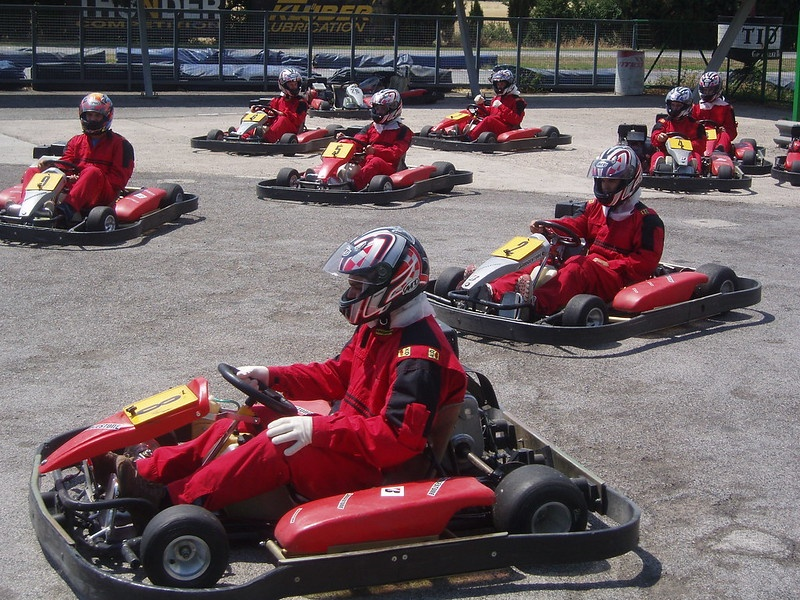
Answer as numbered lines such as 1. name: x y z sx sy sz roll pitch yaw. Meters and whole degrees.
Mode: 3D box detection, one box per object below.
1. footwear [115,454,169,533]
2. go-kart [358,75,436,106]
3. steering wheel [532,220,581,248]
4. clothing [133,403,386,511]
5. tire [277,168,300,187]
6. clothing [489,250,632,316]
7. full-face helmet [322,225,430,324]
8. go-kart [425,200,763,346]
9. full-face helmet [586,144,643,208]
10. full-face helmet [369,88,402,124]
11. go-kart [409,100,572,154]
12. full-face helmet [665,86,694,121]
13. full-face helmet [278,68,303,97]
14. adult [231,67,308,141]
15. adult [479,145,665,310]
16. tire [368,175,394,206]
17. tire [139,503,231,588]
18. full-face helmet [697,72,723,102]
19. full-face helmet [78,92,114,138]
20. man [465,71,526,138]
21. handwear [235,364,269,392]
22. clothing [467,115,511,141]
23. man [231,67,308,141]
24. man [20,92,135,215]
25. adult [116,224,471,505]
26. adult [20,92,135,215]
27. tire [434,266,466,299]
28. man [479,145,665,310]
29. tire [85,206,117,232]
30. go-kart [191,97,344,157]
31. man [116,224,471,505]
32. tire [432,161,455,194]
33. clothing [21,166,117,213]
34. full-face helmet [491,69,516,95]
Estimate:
1. footwear: -1.042 0.758 3.233 0.101 0.260 0.200 -23 8 -27
2. go-kart: 0.096 -5.168 20.102 1.329 0.587 1.942 8 11 44
3. steering wheel: 1.159 -0.495 5.964 0.248 0.049 0.246 22 -8 3
4. clothing: -0.606 0.664 3.305 0.666 0.238 0.463 11 1 -10
5. tire: -1.349 -1.455 9.932 0.232 0.292 0.309 6 9 20
6. clothing: 1.171 -0.121 5.788 0.745 0.252 0.457 -7 9 -24
7. full-face helmet: -0.095 -0.117 3.514 0.507 0.341 0.376 -12 11 -15
8. go-kart: 1.428 -0.085 5.836 1.653 0.540 1.242 -9 14 -33
9. full-face helmet: 1.579 -0.933 6.019 0.338 0.355 0.458 12 47 47
10. full-face helmet: -0.107 -2.443 10.282 0.404 0.398 0.464 13 21 29
11. go-kart: 1.649 -2.780 13.888 1.729 0.529 1.312 -5 10 -39
12. full-face helmet: 3.921 -2.747 11.334 0.331 0.438 0.356 4 11 16
13. full-face helmet: -1.832 -3.609 13.395 0.386 0.452 0.381 -16 -24 -14
14. adult: -2.041 -3.134 13.196 0.823 1.222 1.168 17 24 30
15. adult: 1.250 -0.536 5.904 1.457 1.029 0.910 -16 24 -33
16. tire: -0.224 -1.270 9.502 0.179 0.360 0.384 5 0 26
17. tire: -0.803 0.919 3.010 0.339 0.307 0.124 0 3 -9
18. full-face helmet: 4.835 -3.336 12.634 0.365 0.429 0.470 5 40 31
19. full-face helmet: -3.012 -1.860 8.057 0.335 0.343 0.418 11 24 2
20. man: 1.592 -3.232 13.853 1.081 1.318 0.737 0 19 -25
21. handwear: -0.645 0.342 3.548 0.126 0.042 0.091 16 -36 -12
22. clothing: 1.535 -2.874 13.662 0.771 0.407 0.397 0 10 -3
23. man: -2.049 -3.123 13.201 0.829 1.191 1.154 18 26 32
24. man: -3.214 -1.388 7.960 1.105 1.224 1.010 -4 17 -43
25. adult: -0.496 0.284 3.406 1.546 1.033 0.956 -5 10 -19
26. adult: -3.193 -1.396 7.985 0.991 1.248 1.021 15 15 35
27. tire: 0.373 -0.117 5.933 0.088 0.216 0.227 35 38 28
28. man: 1.274 -0.512 5.896 1.438 0.969 0.869 -17 24 -35
29. tire: -2.793 -0.748 7.573 0.089 0.225 0.237 10 17 26
30. go-kart: -2.064 -2.914 13.696 1.982 0.732 2.529 9 20 30
31. man: -0.517 0.278 3.419 1.592 1.078 0.996 -4 10 -18
32. tire: 0.558 -1.541 10.342 0.136 0.352 0.366 1 21 23
33. clothing: -3.085 -0.980 7.699 0.548 0.290 0.643 6 2 15
34. full-face helmet: 1.782 -3.697 13.781 0.384 0.434 0.427 3 10 12
